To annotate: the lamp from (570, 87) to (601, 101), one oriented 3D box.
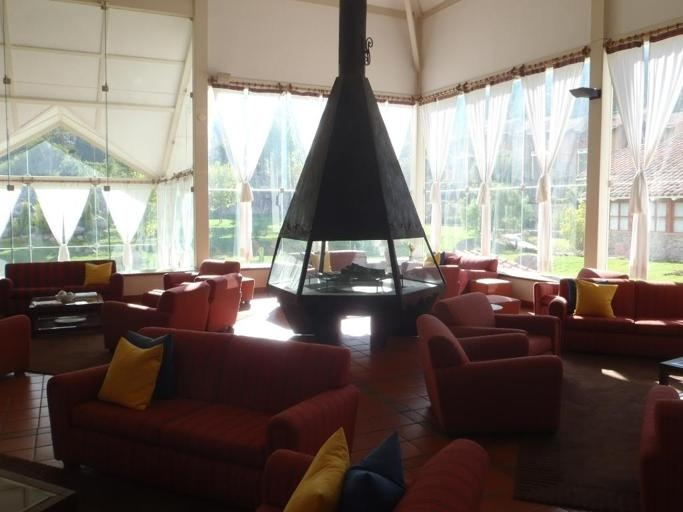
[{"bbox_3d":[3.523,-2.352,7.558,0.262,0.144,0.241,2,1,-33],"label":"lamp"}]
